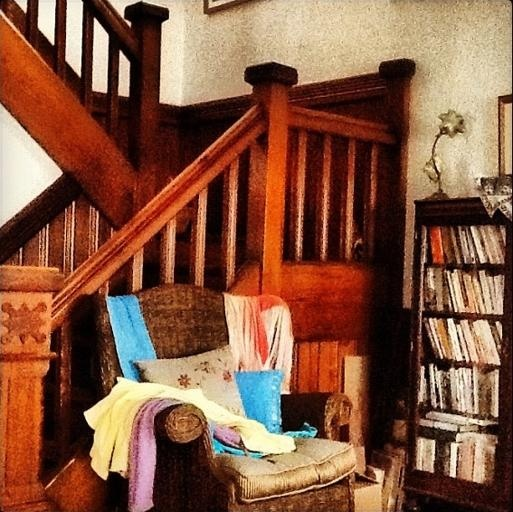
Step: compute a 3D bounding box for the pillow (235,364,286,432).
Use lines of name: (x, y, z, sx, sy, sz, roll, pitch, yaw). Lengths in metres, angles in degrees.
pillow: (0.023, 0.602, 3.211, 0.196, 0.256, 0.098, 1, -12, -1)

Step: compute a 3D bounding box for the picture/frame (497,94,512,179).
picture/frame: (1.224, -0.604, 3.767, 0.046, 0.397, 0.096, 2, -4, -26)

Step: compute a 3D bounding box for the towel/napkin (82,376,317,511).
towel/napkin: (-0.259, 0.634, 2.953, 0.705, 0.439, 0.442, -4, -13, -46)

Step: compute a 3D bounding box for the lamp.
lamp: (0.966, -0.525, 3.932, 0.210, 0.533, 0.483, 0, -4, 13)
